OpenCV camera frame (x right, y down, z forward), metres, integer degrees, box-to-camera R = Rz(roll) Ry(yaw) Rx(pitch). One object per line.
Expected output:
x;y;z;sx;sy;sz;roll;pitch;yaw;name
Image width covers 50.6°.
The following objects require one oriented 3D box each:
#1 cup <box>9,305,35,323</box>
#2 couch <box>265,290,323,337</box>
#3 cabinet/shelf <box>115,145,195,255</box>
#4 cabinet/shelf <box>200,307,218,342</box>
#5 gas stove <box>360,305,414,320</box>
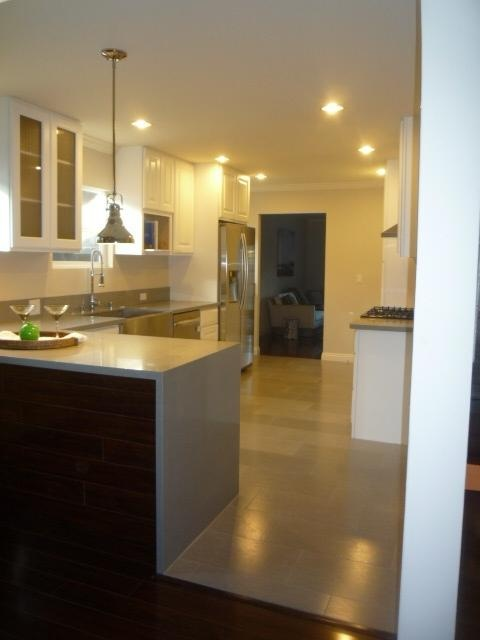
-1.393;-0.045;3.215;0.106;0.138;0.110;0;7;0;cup
1.021;-0.136;9.622;0.908;0.775;1.401;5;6;31;couch
-0.849;-1.183;4.897;0.328;1.033;1.070;2;6;17;cabinet/shelf
-0.334;0.031;5.294;0.173;0.345;0.338;0;1;18;cabinet/shelf
1.244;-0.082;4.366;0.387;0.085;0.936;3;6;14;gas stove
